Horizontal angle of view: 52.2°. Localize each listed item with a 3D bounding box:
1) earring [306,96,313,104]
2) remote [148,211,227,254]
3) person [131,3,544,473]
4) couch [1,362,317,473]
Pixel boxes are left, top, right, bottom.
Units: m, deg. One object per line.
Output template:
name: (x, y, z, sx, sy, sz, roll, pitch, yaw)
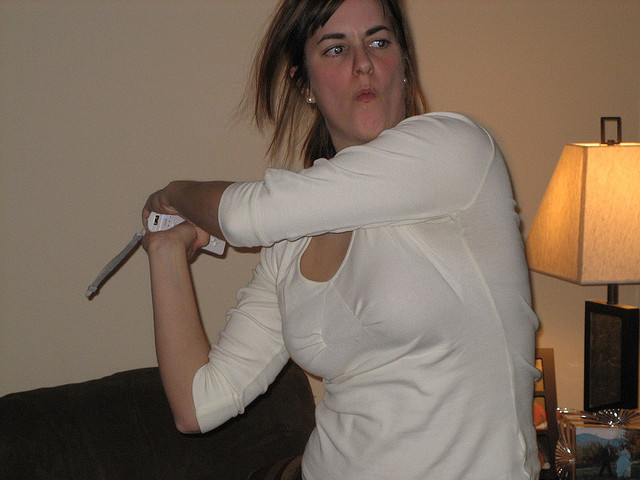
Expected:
earring: (-0.026, -0.337, 1.573, 0.015, 0.016, 0.036, -2, -1, -1)
remote: (-0.297, -0.010, 1.529, 0.188, 0.112, 0.045, 17, -2, -3)
person: (-0.016, -0.014, 1.444, 0.526, 0.964, 0.841, -1, -1, -43)
couch: (-0.428, 0.469, 1.631, 0.430, 0.190, 0.449, 1, 6, 33)
